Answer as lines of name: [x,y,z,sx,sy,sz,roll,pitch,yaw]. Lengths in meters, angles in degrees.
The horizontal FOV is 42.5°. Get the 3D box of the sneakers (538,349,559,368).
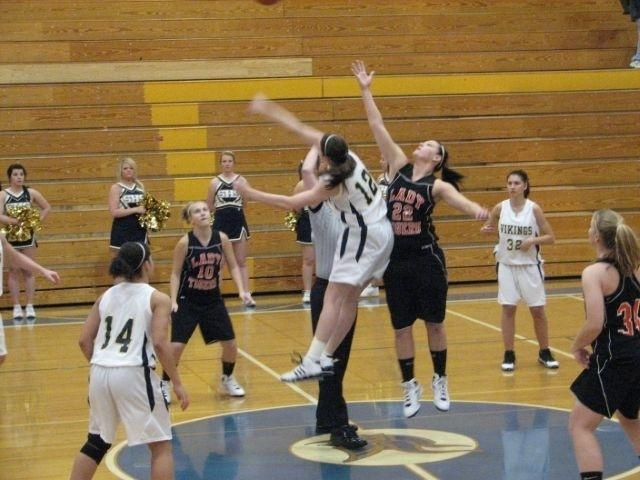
sneakers: [2.511,1.306,9.018,0.123,0.126,0.316,-3,3,-8]

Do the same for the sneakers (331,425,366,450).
sneakers: [0.203,1.708,7.129,0.381,0.165,0.135,-2,0,35]

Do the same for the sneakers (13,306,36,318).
sneakers: [-4.228,1.028,11.694,0.222,0.132,0.385,3,-11,-26]

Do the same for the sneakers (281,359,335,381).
sneakers: [-0.089,1.066,6.724,0.490,0.183,0.150,-3,-2,-12]

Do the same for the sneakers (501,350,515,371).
sneakers: [2.064,1.309,9.008,0.154,0.198,0.306,2,10,13]

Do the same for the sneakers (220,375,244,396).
sneakers: [-0.882,1.471,8.370,0.127,0.138,0.344,-19,15,-28]

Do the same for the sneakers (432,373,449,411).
sneakers: [1.101,1.329,7.276,0.134,0.346,0.151,-3,-37,-14]
